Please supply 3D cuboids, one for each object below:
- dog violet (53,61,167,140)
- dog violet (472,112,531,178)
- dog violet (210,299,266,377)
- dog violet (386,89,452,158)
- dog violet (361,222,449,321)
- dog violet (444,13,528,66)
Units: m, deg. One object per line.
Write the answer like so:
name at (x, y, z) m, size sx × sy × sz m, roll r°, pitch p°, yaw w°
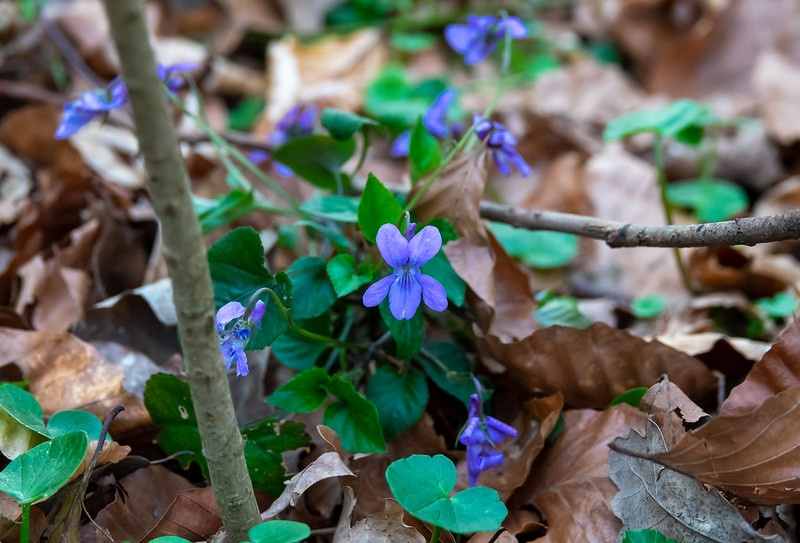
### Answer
dog violet at (-1.143, -0.595, 3.034) m, size 0.287 × 0.209 × 0.187 m, roll -25°, pitch 52°, yaw -19°
dog violet at (0.398, -0.453, 3.118) m, size 0.175 × 0.260 × 0.094 m, roll 31°, pitch 79°, yaw 39°
dog violet at (-0.564, 0.224, 2.827) m, size 0.181 × 0.242 × 0.087 m, roll 0°, pitch 4°, yaw 5°
dog violet at (0.089, -0.580, 3.414) m, size 0.261 × 0.404 × 0.254 m, roll -4°, pitch 48°, yaw -1°
dog violet at (0.051, 0.007, 2.927) m, size 0.281 × 0.387 × 0.139 m, roll 21°, pitch 20°, yaw 2°
dog violet at (0.322, -0.946, 3.364) m, size 0.258 × 0.214 × 0.081 m, roll -31°, pitch 8°, yaw -5°
